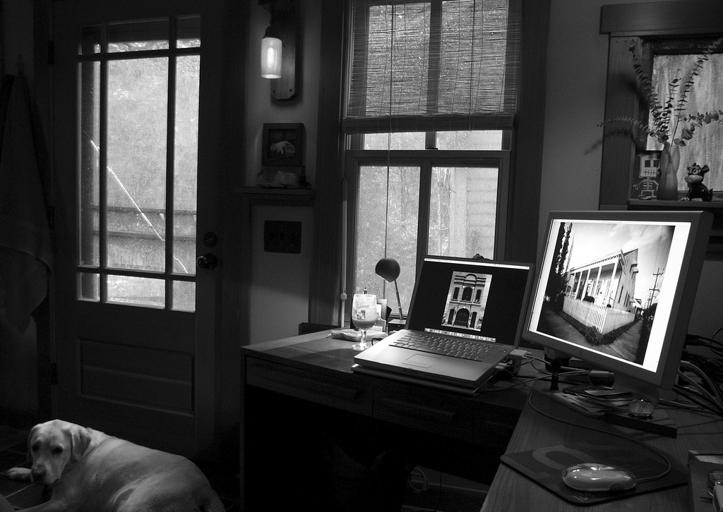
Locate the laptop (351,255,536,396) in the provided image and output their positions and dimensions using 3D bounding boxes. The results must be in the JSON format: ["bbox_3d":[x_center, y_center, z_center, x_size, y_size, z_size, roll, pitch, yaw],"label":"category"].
[{"bbox_3d":[0.325,0.238,2.414,0.489,0.331,0.585,7,17,32],"label":"laptop"}]

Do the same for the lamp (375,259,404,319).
[{"bbox_3d":[0.138,0.177,2.905,0.161,0.354,0.129,0,21,-6],"label":"lamp"}]

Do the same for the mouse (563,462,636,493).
[{"bbox_3d":[0.647,0.595,1.700,0.116,0.030,0.089,-1,2,3],"label":"mouse"}]
